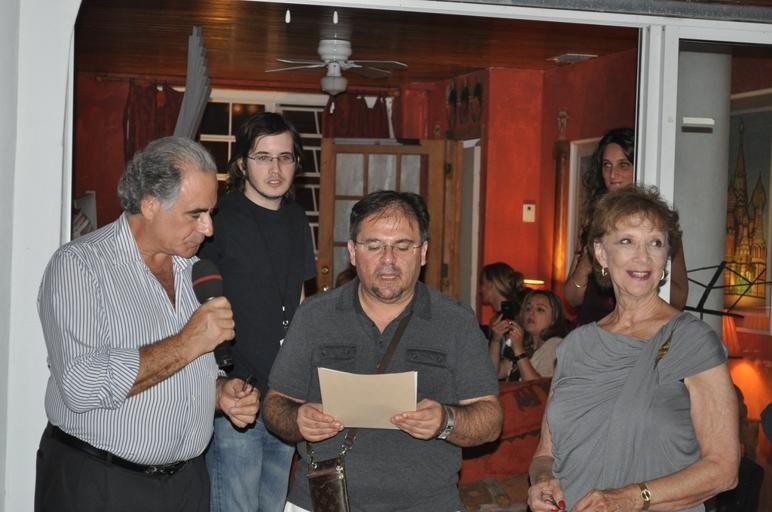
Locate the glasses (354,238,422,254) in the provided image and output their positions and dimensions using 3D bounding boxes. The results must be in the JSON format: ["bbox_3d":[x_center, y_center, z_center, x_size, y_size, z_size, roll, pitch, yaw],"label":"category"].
[{"bbox_3d":[0.017,-0.045,3.307,0.292,0.067,0.059,0,5,-4],"label":"glasses"}]

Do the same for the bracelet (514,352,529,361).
[{"bbox_3d":[1.141,0.830,5.855,0.073,0.075,0.077,2,27,-5],"label":"bracelet"}]

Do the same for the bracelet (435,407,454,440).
[{"bbox_3d":[0.276,0.750,3.152,0.094,0.141,0.132,11,-16,-14],"label":"bracelet"}]

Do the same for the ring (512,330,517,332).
[{"bbox_3d":[1.068,0.617,5.828,0.043,0.023,0.017,0,5,8],"label":"ring"}]

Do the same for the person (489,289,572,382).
[{"bbox_3d":[1.174,0.654,5.720,0.493,0.890,0.438,16,-24,-12],"label":"person"}]

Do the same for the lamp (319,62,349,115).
[{"bbox_3d":[-0.557,-1.831,7.449,0.285,0.501,0.290,7,9,39],"label":"lamp"}]
